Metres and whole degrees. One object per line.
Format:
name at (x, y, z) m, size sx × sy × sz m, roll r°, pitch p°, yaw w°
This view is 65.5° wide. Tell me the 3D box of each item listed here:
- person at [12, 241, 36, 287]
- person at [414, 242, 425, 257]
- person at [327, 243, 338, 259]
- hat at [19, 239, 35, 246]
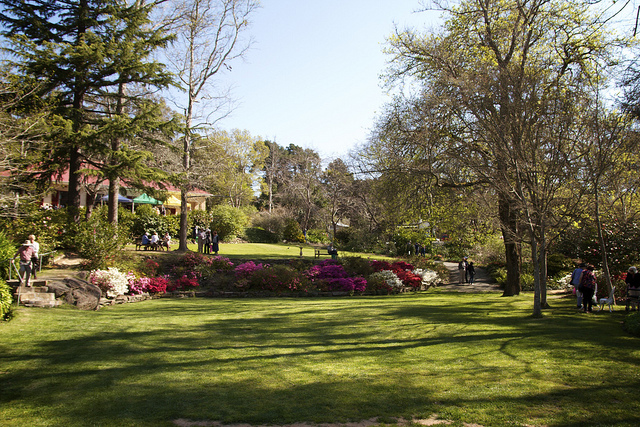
person at (-11.597, 1.946, 19.745) m, size 1.003 × 1.734 × 0.708 m, roll 4°, pitch -5°, yaw -30°
person at (8.861, 3.029, 44.293) m, size 0.992 × 0.915 × 1.331 m, roll 0°, pitch 8°, yaw 9°
person at (0.960, 2.935, 38.687) m, size 0.509 × 0.832 × 0.322 m, roll -8°, pitch -10°, yaw 26°
hat at (-12.005, 1.191, 20.663) m, size 0.423 × 0.117 × 0.389 m, roll 3°, pitch -12°, yaw -8°
